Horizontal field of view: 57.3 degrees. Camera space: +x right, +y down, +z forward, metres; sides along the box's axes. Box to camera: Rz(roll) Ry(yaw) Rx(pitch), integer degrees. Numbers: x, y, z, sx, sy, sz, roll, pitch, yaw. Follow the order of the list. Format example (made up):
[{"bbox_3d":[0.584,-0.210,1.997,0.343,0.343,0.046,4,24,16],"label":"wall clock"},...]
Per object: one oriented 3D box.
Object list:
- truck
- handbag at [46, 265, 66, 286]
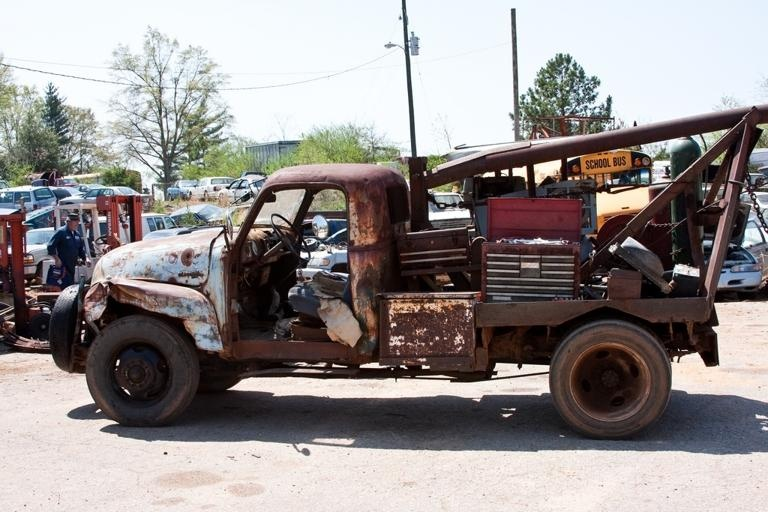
[{"bbox_3d":[0.214,0.021,9.161,8.061,3.531,3.668,0,0,7],"label":"truck"},{"bbox_3d":[-6.567,0.383,14.118,0.331,0.452,0.244,5,14,-22],"label":"handbag"}]
